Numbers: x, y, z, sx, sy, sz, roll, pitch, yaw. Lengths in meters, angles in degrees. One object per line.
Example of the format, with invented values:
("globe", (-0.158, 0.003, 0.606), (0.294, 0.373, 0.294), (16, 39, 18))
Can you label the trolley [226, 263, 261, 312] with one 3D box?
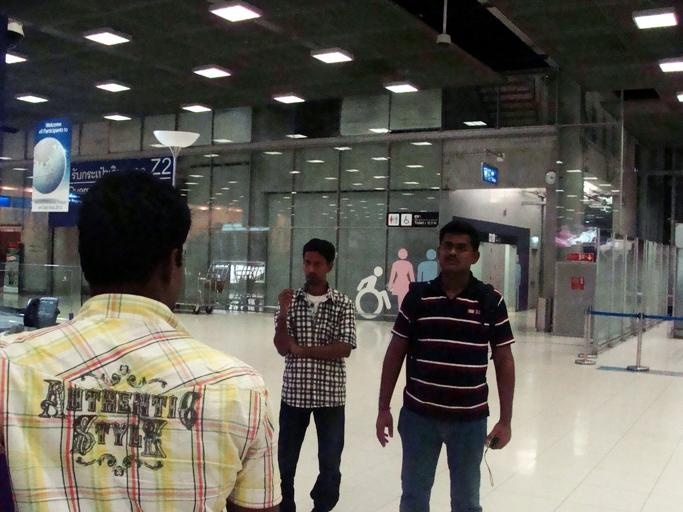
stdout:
("trolley", (-3.214, 1.107, 19.940), (1.157, 1.742, 1.170), (-10, -14, 44))

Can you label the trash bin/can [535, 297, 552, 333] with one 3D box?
("trash bin/can", (5.209, 1.516, 15.173), (0.432, 0.927, 0.216), (11, -6, 20))

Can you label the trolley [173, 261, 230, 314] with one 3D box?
("trolley", (-4.353, 1.203, 19.670), (0.755, 1.241, 1.240), (-5, -2, -36))

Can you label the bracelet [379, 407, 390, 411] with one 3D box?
("bracelet", (0.223, 0.804, 3.087), (0.036, 0.015, 0.050), (-1, -4, 7))
